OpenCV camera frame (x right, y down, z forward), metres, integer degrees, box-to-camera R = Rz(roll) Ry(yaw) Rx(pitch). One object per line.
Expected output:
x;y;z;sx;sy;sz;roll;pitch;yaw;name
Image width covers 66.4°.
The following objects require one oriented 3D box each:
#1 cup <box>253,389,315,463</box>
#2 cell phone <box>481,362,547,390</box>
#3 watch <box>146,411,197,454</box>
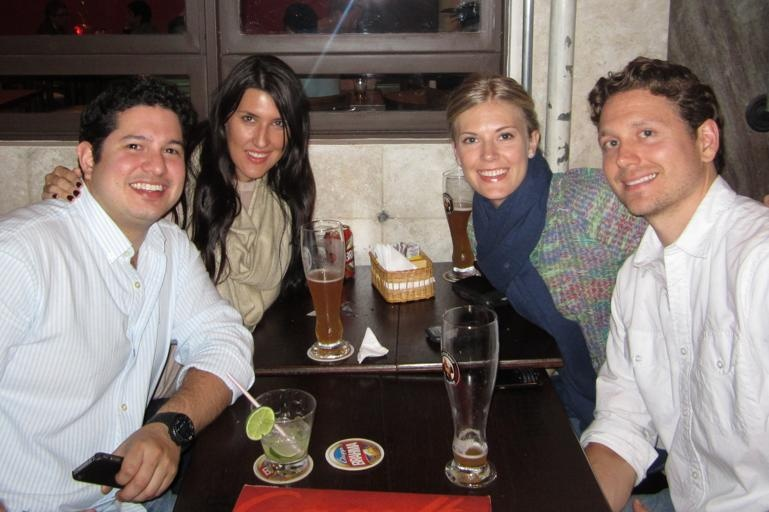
-0.241;0.401;1.431;0.145;0.117;0.150;1;13;0;cup
0.342;0.321;1.565;0.113;0.025;0.109;-1;11;2;cell phone
-0.546;0.449;1.498;0.086;0.088;0.058;-16;36;24;watch
